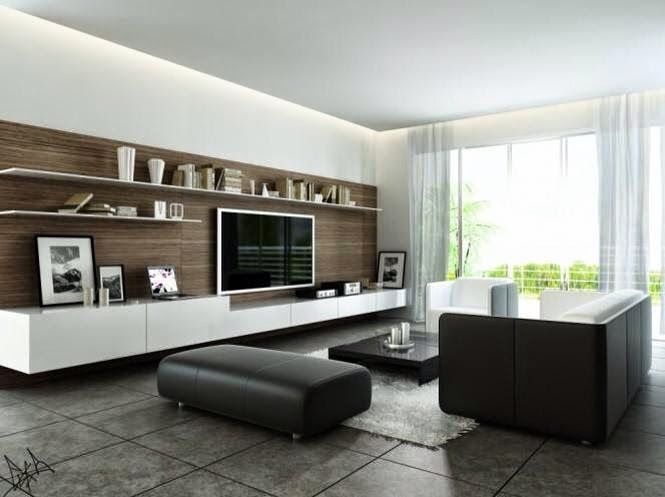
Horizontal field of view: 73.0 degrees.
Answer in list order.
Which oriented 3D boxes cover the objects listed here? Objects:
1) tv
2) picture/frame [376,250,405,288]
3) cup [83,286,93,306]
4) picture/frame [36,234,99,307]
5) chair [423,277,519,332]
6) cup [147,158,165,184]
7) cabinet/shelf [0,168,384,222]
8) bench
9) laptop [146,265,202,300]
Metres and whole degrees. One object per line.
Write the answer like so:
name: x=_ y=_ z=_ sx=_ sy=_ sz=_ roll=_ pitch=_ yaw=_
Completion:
tv: x=-0.951 y=0.034 z=6.039 sx=0.034 sy=0.807 sz=1.360 roll=2 pitch=0 yaw=40
picture/frame: x=1.023 y=0.370 z=7.764 sx=0.679 sy=0.768 sz=0.030 roll=-1 pitch=-8 yaw=37
cup: x=-2.317 y=0.445 z=4.271 sx=0.089 sy=0.156 sz=0.200 roll=-1 pitch=2 yaw=-28
picture/frame: x=-2.545 y=0.216 z=4.269 sx=0.038 sy=0.883 sz=0.703 roll=-7 pitch=-6 yaw=36
chair: x=1.749 y=0.716 z=5.805 sx=0.925 sy=0.580 sz=0.694 roll=-2 pitch=-3 yaw=37
cup: x=-1.909 y=-0.822 z=4.863 sx=0.143 sy=0.280 sz=0.238 roll=-1 pitch=2 yaw=-29
cabinet/shelf: x=-1.356 y=-0.679 z=5.477 sx=0.328 sy=0.167 sz=4.386 roll=2 pitch=2 yaw=42
bench: x=-0.513 y=1.016 z=3.378 sx=1.402 sy=0.423 sz=0.614 roll=1 pitch=2 yaw=30
laptop: x=-1.734 y=0.378 z=4.941 sx=0.454 sy=0.291 sz=0.445 roll=9 pitch=4 yaw=32
